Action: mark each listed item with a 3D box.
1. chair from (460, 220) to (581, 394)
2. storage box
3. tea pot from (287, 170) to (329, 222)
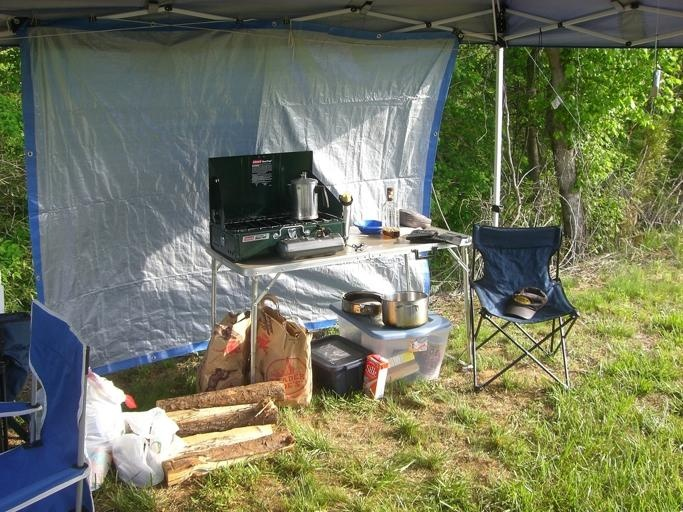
[{"bbox_3d":[1.465,0.375,5.441,0.863,1.359,0.892,0,6,-3],"label":"chair"},{"bbox_3d":[0.345,0.606,5.446,0.839,0.599,0.678,-1,16,-31],"label":"storage box"},{"bbox_3d":[-0.266,-0.450,5.003,0.244,0.340,0.249,-1,11,0],"label":"tea pot"}]
